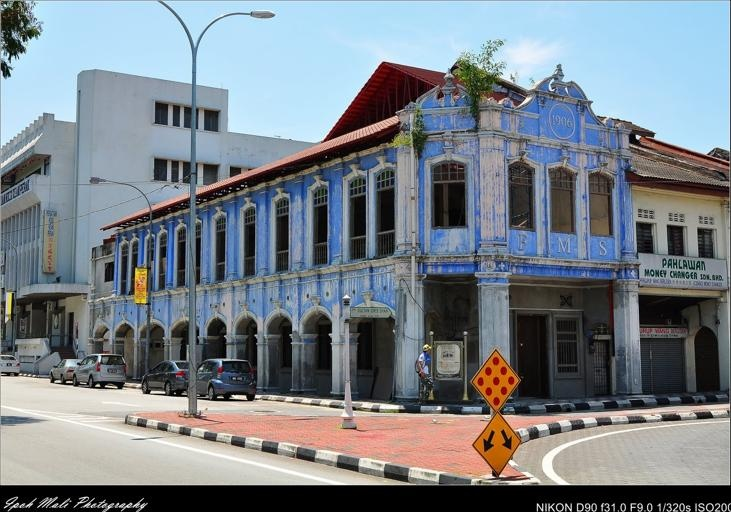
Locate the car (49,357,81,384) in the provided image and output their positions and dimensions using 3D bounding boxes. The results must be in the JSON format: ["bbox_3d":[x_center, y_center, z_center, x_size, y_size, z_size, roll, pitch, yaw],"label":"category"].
[{"bbox_3d":[-17.828,6.610,50.706,1.234,0.904,2.683,4,-6,-34],"label":"car"}]

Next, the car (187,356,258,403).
[{"bbox_3d":[-6.427,5.307,38.314,1.598,1.261,2.769,4,-6,-28],"label":"car"}]

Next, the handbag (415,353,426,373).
[{"bbox_3d":[2.131,3.955,32.472,0.499,0.789,0.397,-6,-2,14],"label":"handbag"}]

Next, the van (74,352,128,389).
[{"bbox_3d":[-14.714,6.148,47.305,1.748,1.425,3.188,6,-6,-36],"label":"van"}]
